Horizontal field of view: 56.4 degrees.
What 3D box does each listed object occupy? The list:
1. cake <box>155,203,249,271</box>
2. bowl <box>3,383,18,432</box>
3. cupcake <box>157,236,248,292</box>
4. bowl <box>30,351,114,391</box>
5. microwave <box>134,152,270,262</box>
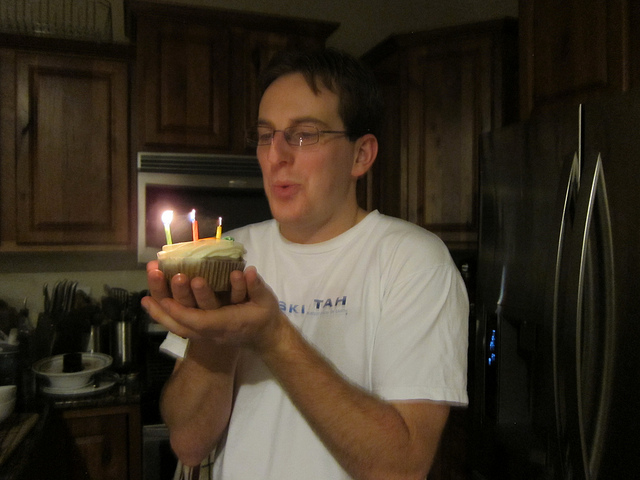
[{"bbox_3d":[-0.324,0.026,1.701,0.184,0.176,0.192,-7,8,7],"label":"cake"},{"bbox_3d":[-1.340,0.701,2.561,0.051,0.179,0.233,-3,3,-28],"label":"bowl"},{"bbox_3d":[-0.358,0.068,1.725,0.231,0.164,0.261,4,-4,-32],"label":"cupcake"},{"bbox_3d":[-1.272,0.648,3.053,0.383,0.164,0.372,-2,3,0],"label":"bowl"},{"bbox_3d":[-0.680,-0.041,3.462,0.916,0.740,0.551,-2,-7,-6],"label":"microwave"}]
